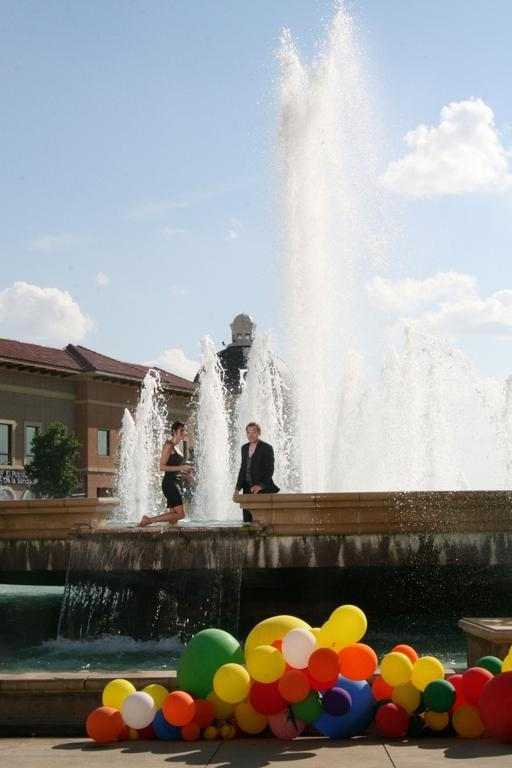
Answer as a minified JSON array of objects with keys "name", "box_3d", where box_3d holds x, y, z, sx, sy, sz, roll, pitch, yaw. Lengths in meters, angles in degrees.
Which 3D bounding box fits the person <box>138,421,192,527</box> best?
[{"name":"person","box_3d":[-1.076,1.123,10.468,0.551,1.375,1.961,2,-2,-4]}]

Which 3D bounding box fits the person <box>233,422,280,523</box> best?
[{"name":"person","box_3d":[0.014,0.825,9.541,0.430,0.799,0.686,2,-2,-15]}]
